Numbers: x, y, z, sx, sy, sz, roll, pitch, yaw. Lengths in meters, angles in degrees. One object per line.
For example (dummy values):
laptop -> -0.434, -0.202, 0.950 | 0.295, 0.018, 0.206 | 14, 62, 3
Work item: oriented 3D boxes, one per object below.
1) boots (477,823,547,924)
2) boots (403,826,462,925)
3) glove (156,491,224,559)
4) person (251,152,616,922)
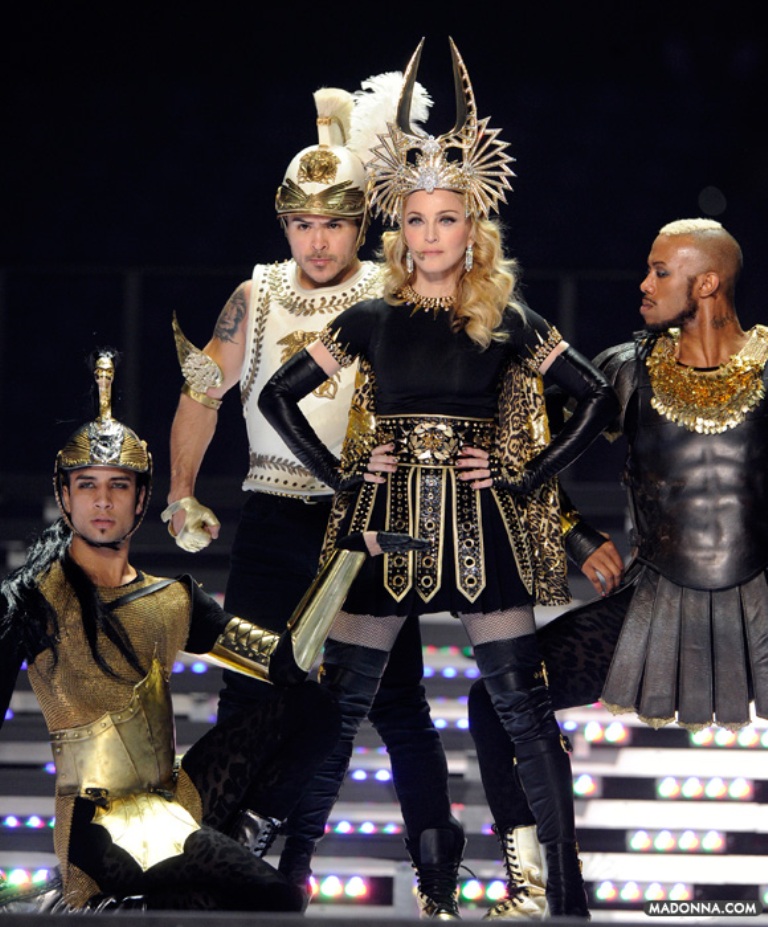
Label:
boots -> 0.314, 1.003, 3.596 | 0.143, 0.195, 0.273 | -1, 18, 4
boots -> 0.105, 1.023, 3.743 | 0.119, 0.106, 0.245 | -2, 44, 1
glove -> -0.505, 0.161, 4.080 | 0.213, 0.116, 0.101 | 27, 42, 23
person -> 0.112, 0.117, 3.707 | 0.862, 1.844, 1.021 | 0, 23, 6
